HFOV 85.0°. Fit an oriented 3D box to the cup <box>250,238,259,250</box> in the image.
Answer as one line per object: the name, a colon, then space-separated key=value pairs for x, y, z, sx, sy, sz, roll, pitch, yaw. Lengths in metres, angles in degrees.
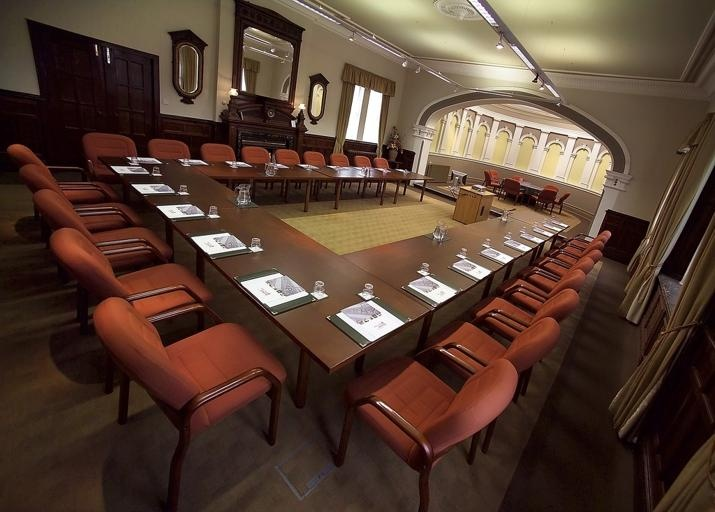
cup: x=-0.925 y=-0.117 z=3.589 sx=0.107 sy=0.108 sz=0.073 roll=4 pitch=22 yaw=2

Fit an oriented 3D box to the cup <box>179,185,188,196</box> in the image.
cup: x=-1.909 y=-0.715 z=4.302 sx=0.100 sy=0.101 sz=0.140 roll=-5 pitch=34 yaw=-21

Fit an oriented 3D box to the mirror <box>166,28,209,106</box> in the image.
mirror: x=-3.141 y=-3.512 z=7.251 sx=0.618 sy=1.242 sz=0.160 roll=-3 pitch=23 yaw=-29

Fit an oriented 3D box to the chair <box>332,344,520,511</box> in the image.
chair: x=0.495 y=1.296 z=2.848 sx=0.680 sy=1.031 sz=0.734 roll=-23 pitch=48 yaw=-37

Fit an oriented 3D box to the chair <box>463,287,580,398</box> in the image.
chair: x=1.449 y=0.769 z=3.432 sx=0.556 sy=0.775 sz=0.672 roll=-27 pitch=44 yaw=-27

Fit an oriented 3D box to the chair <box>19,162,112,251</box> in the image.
chair: x=-3.038 y=-0.786 z=4.132 sx=0.790 sy=0.766 sz=0.549 roll=-15 pitch=55 yaw=-41

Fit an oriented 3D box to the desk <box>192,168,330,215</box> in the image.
desk: x=-1.423 y=-0.983 z=5.828 sx=1.221 sy=0.294 sz=0.613 roll=-6 pitch=47 yaw=-42

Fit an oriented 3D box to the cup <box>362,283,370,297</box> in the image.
cup: x=0.067 y=0.289 z=3.228 sx=0.074 sy=0.070 sz=0.073 roll=3 pitch=13 yaw=-1

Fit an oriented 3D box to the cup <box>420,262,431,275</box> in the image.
cup: x=0.646 y=0.108 z=3.735 sx=0.100 sy=0.076 sz=0.102 roll=3 pitch=31 yaw=-2

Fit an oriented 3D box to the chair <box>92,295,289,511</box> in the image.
chair: x=-1.128 y=0.950 z=2.752 sx=1.072 sy=1.343 sz=0.692 roll=-9 pitch=27 yaw=-39

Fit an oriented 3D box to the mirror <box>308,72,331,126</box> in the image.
mirror: x=-0.967 y=-3.788 z=9.386 sx=0.180 sy=1.137 sz=0.618 roll=18 pitch=23 yaw=25

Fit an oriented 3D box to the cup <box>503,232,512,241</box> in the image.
cup: x=1.961 y=-0.262 z=5.120 sx=0.083 sy=0.119 sz=0.077 roll=7 pitch=31 yaw=-4

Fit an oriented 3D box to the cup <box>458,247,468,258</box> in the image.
cup: x=1.129 y=-0.034 z=4.201 sx=0.106 sy=0.092 sz=0.104 roll=4 pitch=20 yaw=-2

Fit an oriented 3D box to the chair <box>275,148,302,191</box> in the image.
chair: x=-1.288 y=-1.760 z=7.235 sx=0.424 sy=0.610 sz=0.414 roll=-14 pitch=45 yaw=-32

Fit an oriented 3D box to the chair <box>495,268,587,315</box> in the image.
chair: x=1.898 y=0.364 z=4.066 sx=0.324 sy=0.413 sz=0.386 roll=-29 pitch=50 yaw=-22
